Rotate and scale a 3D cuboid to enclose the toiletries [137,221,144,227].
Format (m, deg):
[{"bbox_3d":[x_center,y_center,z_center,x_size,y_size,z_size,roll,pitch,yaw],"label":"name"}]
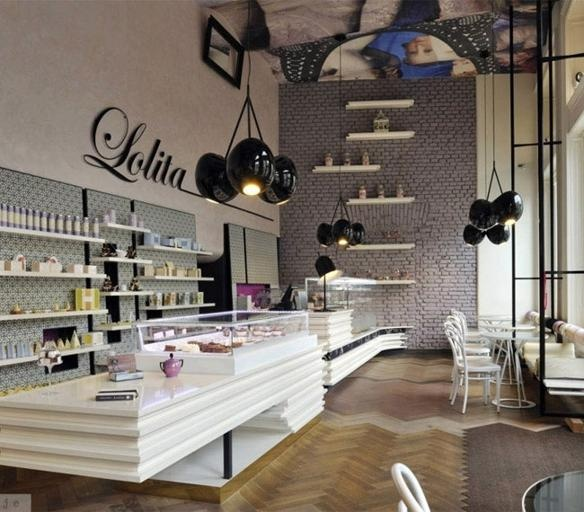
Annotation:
[{"bbox_3d":[-1.814,-0.384,5.551,0.057,0.095,0.059,1,-3,-15],"label":"toiletries"}]

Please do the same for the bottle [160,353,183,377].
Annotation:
[{"bbox_3d":[-0.850,0.773,3.284,0.123,0.145,0.149,-1,-3,21],"label":"bottle"}]
